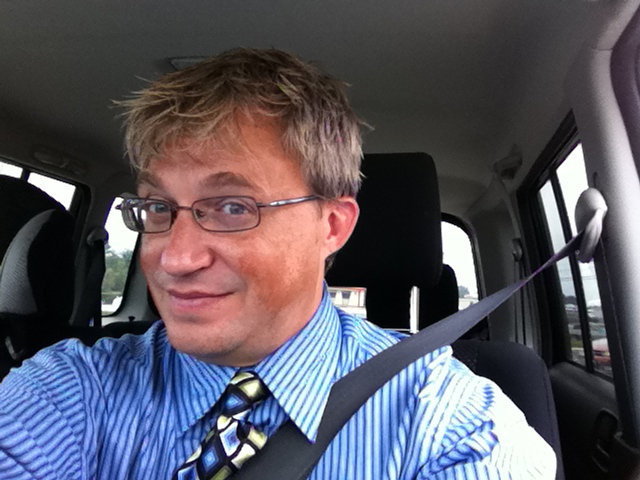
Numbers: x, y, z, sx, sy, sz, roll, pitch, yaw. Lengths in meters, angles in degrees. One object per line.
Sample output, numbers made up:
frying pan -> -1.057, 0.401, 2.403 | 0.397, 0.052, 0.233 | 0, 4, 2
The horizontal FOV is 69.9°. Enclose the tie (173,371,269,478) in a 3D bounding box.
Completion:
tie -> -0.250, 0.548, 1.326 | 0.201, 0.298, 0.087 | -26, -74, 40

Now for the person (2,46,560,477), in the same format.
person -> -0.197, 0.058, 1.515 | 1.532, 1.371, 0.436 | 3, -13, -2
